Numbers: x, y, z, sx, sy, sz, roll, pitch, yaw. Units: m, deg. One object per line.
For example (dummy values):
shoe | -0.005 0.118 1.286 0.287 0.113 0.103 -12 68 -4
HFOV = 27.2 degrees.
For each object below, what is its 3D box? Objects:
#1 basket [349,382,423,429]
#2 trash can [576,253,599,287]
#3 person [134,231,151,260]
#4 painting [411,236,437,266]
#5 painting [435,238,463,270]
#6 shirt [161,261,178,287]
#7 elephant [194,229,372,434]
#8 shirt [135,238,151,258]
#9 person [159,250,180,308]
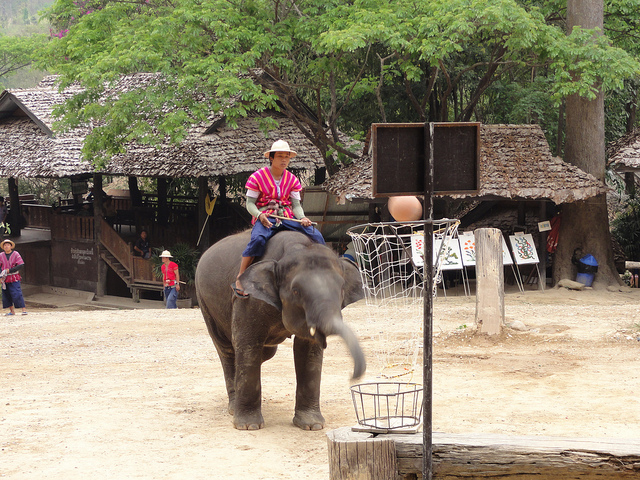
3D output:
basket | 1.322 3.167 24.980 1.382 0.660 1.727 3 -14 -20
trash can | 7.293 0.753 36.268 0.541 0.826 0.560 26 21 35
person | -5.330 0.122 40.672 0.482 0.790 0.858 -3 1 14
painting | 2.659 0.195 33.947 0.623 0.882 0.688 -4 5 16
painting | 3.110 0.360 32.029 0.757 0.733 0.181 0 -9 -30
shirt | -4.081 0.952 36.256 0.347 0.651 0.571 -3 1 -9
elephant | -0.746 1.744 26.165 2.653 3.914 5.499 -4 5 -31
shirt | -5.398 0.268 40.482 0.552 0.643 0.239 4 -5 -39
person | -4.090 1.094 36.492 0.456 1.495 2.486 -3 1 -6
